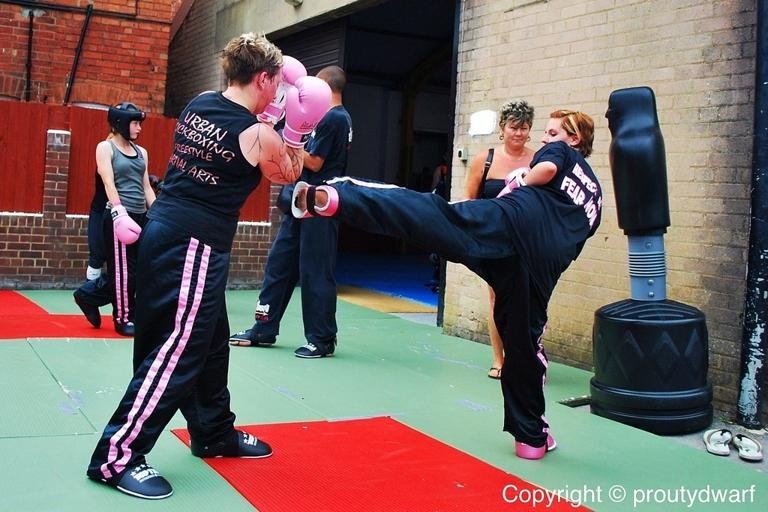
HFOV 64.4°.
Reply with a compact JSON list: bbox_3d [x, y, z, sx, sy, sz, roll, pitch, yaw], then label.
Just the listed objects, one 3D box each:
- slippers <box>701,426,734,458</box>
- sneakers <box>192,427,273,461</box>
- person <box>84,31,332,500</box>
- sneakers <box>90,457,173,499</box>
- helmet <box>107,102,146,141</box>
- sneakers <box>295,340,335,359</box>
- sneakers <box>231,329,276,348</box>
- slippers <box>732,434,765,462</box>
[{"bbox_3d":[2.426,1.345,4.435,0.188,0.160,0.206,6,6,25],"label":"slippers"},{"bbox_3d":[-0.961,1.157,3.830,0.423,0.129,0.205,-1,2,-13],"label":"sneakers"},{"bbox_3d":[-1.054,0.010,3.584,1.202,2.658,0.467,1,7,-27],"label":"person"},{"bbox_3d":[-1.419,1.268,3.453,0.432,0.146,0.190,3,0,14],"label":"sneakers"},{"bbox_3d":[-2.790,-1.476,6.583,0.419,0.378,0.340,6,15,-25],"label":"helmet"},{"bbox_3d":[-0.682,0.937,6.094,0.386,0.151,0.147,4,-1,-27],"label":"sneakers"},{"bbox_3d":[-1.356,0.848,6.316,0.466,0.177,0.178,5,-5,-13],"label":"sneakers"},{"bbox_3d":[2.649,1.373,4.378,0.234,0.145,0.186,4,6,4],"label":"slippers"}]
